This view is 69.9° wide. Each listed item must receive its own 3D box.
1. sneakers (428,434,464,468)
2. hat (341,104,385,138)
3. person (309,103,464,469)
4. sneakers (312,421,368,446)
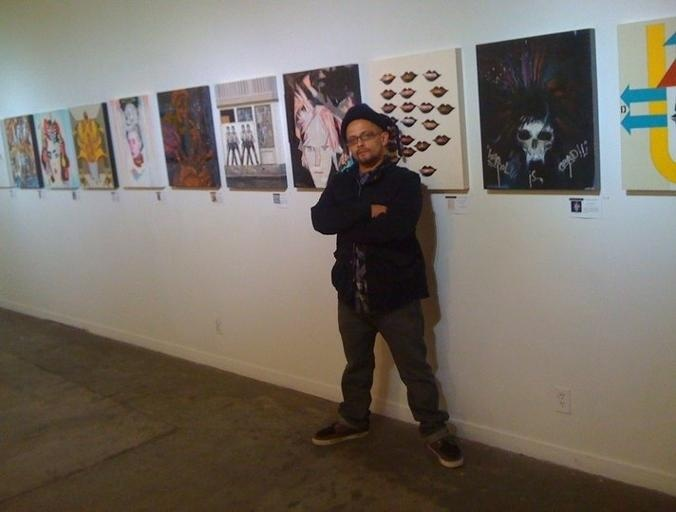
[{"bbox_3d":[0.627,1.154,2.870,0.110,0.111,0.244,-5,-2,-24],"label":"sneakers"},{"bbox_3d":[0.144,-0.793,2.803,0.260,0.175,0.120,-5,13,-2],"label":"hat"},{"bbox_3d":[0.262,0.168,2.913,0.890,2.096,0.435,1,14,22],"label":"person"},{"bbox_3d":[-0.006,1.156,3.206,0.392,0.174,0.138,-2,-1,-13],"label":"sneakers"}]
